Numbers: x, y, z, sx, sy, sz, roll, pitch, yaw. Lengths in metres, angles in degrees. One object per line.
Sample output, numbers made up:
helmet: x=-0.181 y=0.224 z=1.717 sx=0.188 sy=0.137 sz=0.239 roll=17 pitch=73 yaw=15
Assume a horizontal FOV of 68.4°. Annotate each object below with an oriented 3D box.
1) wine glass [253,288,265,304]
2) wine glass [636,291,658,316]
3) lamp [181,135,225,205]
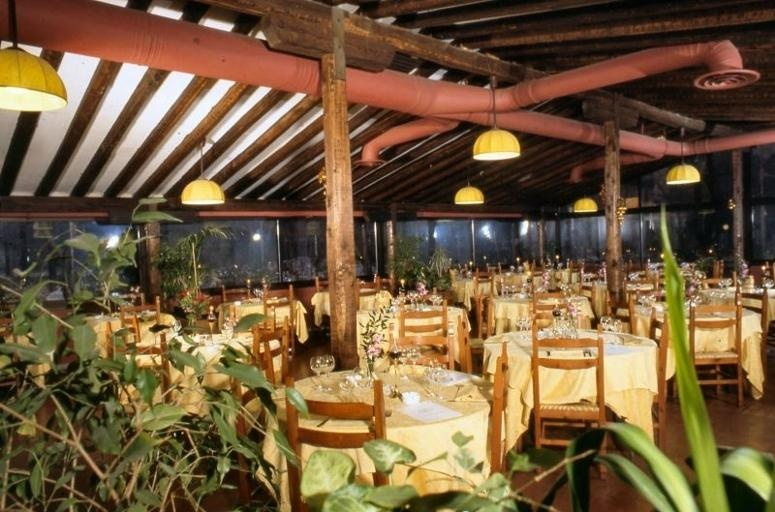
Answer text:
wine glass: x=-2.086 y=0.655 z=9.205 sx=0.222 sy=0.145 sz=0.223 roll=0 pitch=1 yaw=-16
wine glass: x=3.133 y=0.581 z=6.875 sx=0.198 sy=0.226 sz=0.199 roll=1 pitch=-2 yaw=-4
lamp: x=-2.384 y=-1.105 z=7.311 sx=0.527 sy=0.870 sz=0.513 roll=-2 pitch=-3 yaw=6
